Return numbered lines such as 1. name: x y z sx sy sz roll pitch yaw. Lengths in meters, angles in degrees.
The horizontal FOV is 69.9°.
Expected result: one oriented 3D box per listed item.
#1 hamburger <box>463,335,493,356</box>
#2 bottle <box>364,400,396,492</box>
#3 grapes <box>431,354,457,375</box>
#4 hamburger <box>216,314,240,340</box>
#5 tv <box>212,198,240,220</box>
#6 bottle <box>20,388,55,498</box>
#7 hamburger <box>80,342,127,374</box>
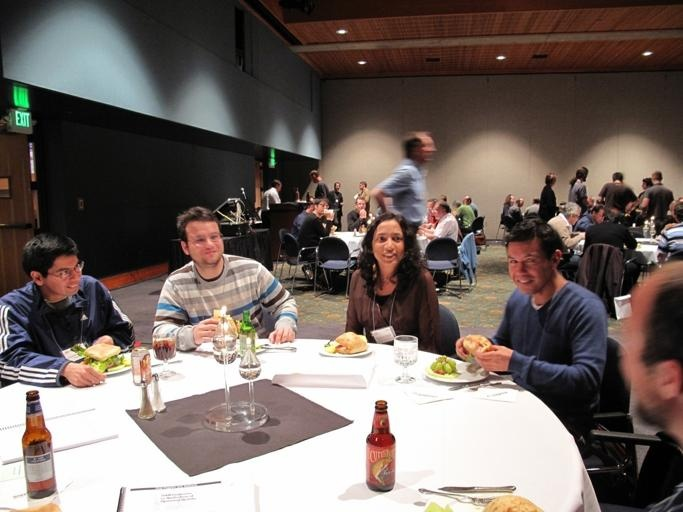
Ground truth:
1. hamburger: 0.546 0.361 1.981 0.088 0.036 0.092 1 29 26
2. bottle: 0.106 0.488 1.301 0.081 0.245 0.114 1 12 6
3. grapes: 0.404 0.429 1.916 0.068 0.039 0.069 0 0 2
4. hamburger: -0.474 0.301 2.016 0.097 0.094 0.096 -9 13 -42
5. tv: -1.736 -0.651 7.440 0.423 0.343 0.165 -28 1 14
6. bottle: -0.794 0.479 1.262 0.069 0.264 0.140 -9 15 -35
7. hamburger: -0.957 0.408 1.982 0.114 0.044 0.120 24 14 21
